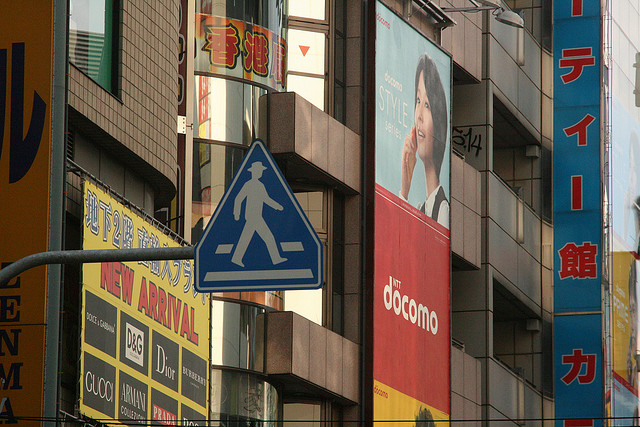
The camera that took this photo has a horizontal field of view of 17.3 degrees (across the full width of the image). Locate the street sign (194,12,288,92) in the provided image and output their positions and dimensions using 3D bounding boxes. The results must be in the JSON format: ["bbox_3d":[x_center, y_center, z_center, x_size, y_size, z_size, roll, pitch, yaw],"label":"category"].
[{"bbox_3d":[-2.186,-4.157,55.543,1.905,1.957,1.738,-4,0,-3],"label":"street sign"}]
